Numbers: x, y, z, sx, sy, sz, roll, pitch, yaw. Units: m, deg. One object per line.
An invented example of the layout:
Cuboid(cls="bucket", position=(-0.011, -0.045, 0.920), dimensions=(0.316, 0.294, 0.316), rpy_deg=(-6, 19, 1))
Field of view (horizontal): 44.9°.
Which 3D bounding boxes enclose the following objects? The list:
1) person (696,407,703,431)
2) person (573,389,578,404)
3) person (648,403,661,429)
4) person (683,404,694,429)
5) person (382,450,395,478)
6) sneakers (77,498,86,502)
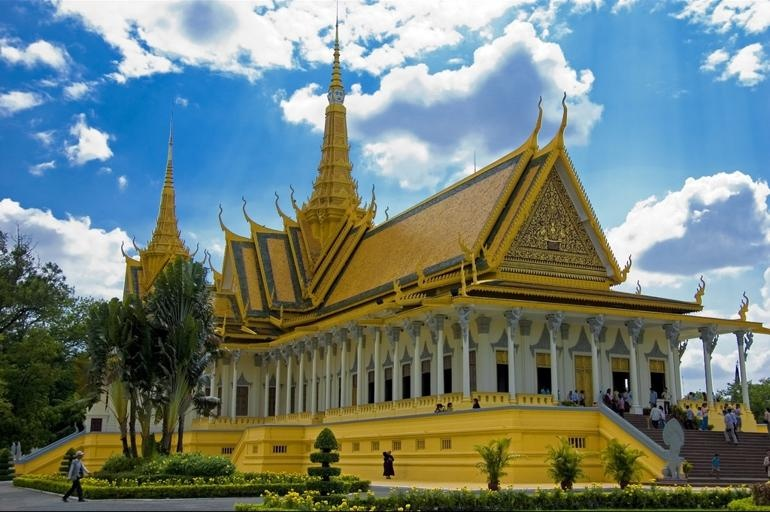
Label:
Cuboid(cls="person", position=(13.240, 6.812, 39.130), dimensions=(0.244, 0.921, 0.711), rpy_deg=(-5, -15, 19))
Cuboid(cls="person", position=(7.967, 5.926, 39.030), dimensions=(0.300, 0.557, 0.923), rpy_deg=(-3, -14, 12))
Cuboid(cls="person", position=(10.871, 6.518, 37.710), dimensions=(0.392, 0.861, 0.701), rpy_deg=(-13, -19, 42))
Cuboid(cls="person", position=(12.749, 6.820, 39.155), dimensions=(0.479, 0.842, 0.366), rpy_deg=(3, -14, -12))
Cuboid(cls="person", position=(0.167, 8.641, 38.555), dimensions=(0.469, 1.118, 0.932), rpy_deg=(0, -14, 1))
Cuboid(cls="sneakers", position=(-10.172, 8.213, 31.397), dimensions=(0.242, 0.100, 0.549), rpy_deg=(4, -15, -18))
